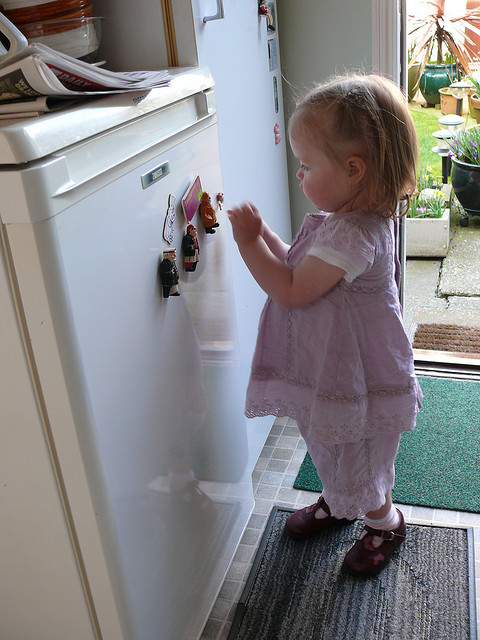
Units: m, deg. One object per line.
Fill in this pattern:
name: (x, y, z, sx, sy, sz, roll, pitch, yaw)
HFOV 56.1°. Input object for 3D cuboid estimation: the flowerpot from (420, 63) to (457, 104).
flowerpot: (1.470, -1.764, 3.341, 0.191, 0.272, 0.238, -22, 33, -33)

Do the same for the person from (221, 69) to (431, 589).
person: (0.199, 0.036, 0.954, 0.340, 0.961, 0.350, -4, 14, -10)

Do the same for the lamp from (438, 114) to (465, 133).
lamp: (1.426, -1.342, 3.050, 0.135, 0.098, 0.136, -23, 33, -24)

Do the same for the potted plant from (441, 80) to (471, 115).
potted plant: (1.502, -1.601, 3.209, 0.163, 0.195, 0.203, 1, 50, 9)

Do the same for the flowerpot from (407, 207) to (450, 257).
flowerpot: (1.221, -0.552, 2.982, 0.288, 0.234, 0.316, 2, 24, 11)

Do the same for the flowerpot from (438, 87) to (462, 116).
flowerpot: (1.498, -1.580, 3.254, 0.163, 0.132, 0.181, -4, 42, 4)
